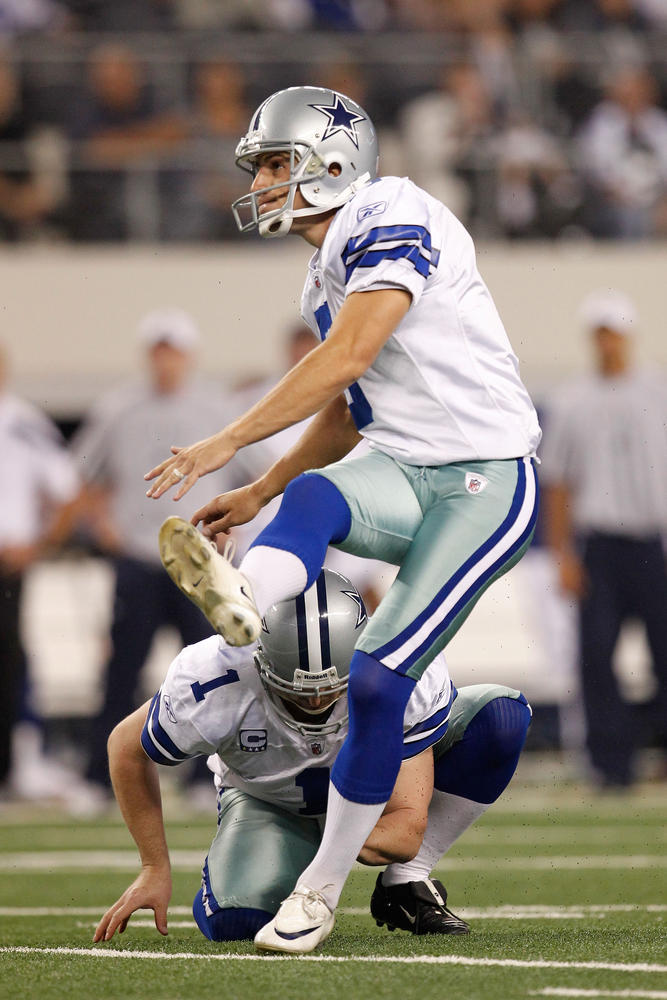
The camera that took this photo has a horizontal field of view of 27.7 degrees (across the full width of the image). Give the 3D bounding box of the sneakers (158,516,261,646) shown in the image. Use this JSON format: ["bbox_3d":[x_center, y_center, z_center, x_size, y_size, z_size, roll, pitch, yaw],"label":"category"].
[{"bbox_3d":[-0.155,0.102,1.696,0.085,0.137,0.204,-12,31,-20],"label":"sneakers"}]

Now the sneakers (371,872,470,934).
[{"bbox_3d":[0.131,0.680,2.262,0.208,0.082,0.072,0,-3,44],"label":"sneakers"}]

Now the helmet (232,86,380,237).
[{"bbox_3d":[-0.029,-0.565,2.258,0.302,0.241,0.220,-10,4,-17],"label":"helmet"}]

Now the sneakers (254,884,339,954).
[{"bbox_3d":[-0.047,0.579,1.880,0.055,0.056,0.137,32,20,15],"label":"sneakers"}]
